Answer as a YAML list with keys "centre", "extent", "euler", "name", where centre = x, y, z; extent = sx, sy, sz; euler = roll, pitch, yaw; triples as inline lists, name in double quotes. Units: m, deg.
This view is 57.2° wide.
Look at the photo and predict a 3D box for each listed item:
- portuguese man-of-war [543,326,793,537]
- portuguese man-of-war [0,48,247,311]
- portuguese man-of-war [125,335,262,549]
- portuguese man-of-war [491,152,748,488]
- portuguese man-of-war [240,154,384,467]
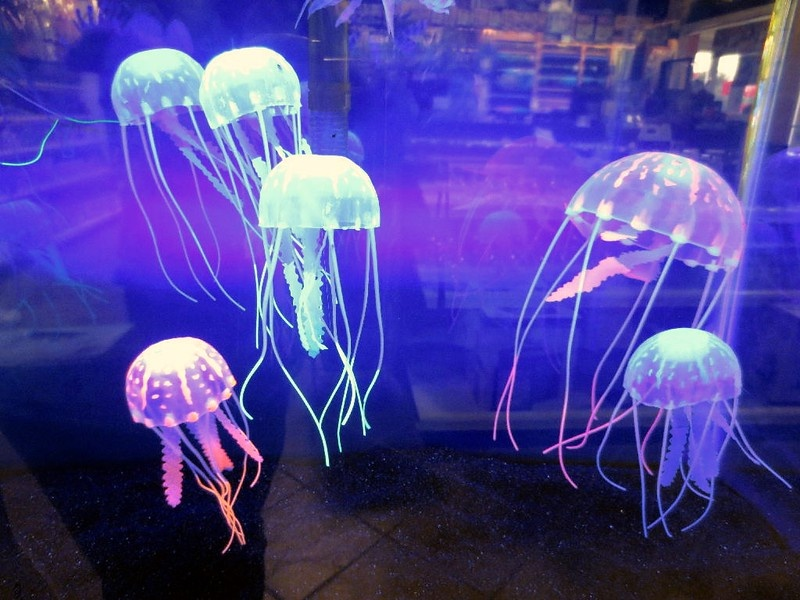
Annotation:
- centre: [1.063, 0.535, 2.980]
  extent: [0.689, 0.788, 0.769]
  euler: [-1, 11, 13]
  name: "portuguese man-of-war"
- centre: [-0.986, -0.482, 2.970]
  extent: [0.801, 1.013, 0.318]
  euler: [2, 23, 7]
  name: "portuguese man-of-war"
- centre: [-0.788, 0.528, 2.896]
  extent: [0.484, 0.745, 0.539]
  euler: [-10, 24, -21]
  name: "portuguese man-of-war"
- centre: [0.906, 0.045, 2.974]
  extent: [0.690, 1.405, 0.715]
  euler: [31, 22, 30]
  name: "portuguese man-of-war"
- centre: [-0.223, -0.017, 3.083]
  extent: [0.546, 1.146, 0.555]
  euler: [-14, 16, -36]
  name: "portuguese man-of-war"
